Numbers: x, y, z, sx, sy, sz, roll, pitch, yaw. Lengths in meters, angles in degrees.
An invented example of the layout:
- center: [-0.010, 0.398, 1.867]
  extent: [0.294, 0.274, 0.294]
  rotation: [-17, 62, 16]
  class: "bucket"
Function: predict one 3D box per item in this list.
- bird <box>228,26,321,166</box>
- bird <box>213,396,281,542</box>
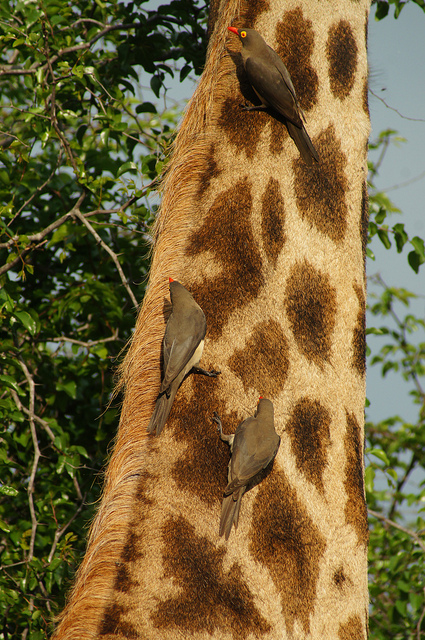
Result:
- center: [0.316, -1.137, 9.154]
  extent: [0.684, 0.206, 0.407]
  rotation: [38, -56, 19]
  class: "bird"
- center: [0.135, 0.695, 8.856]
  extent: [0.240, 0.694, 0.235]
  rotation: [25, -11, -30]
  class: "bird"
